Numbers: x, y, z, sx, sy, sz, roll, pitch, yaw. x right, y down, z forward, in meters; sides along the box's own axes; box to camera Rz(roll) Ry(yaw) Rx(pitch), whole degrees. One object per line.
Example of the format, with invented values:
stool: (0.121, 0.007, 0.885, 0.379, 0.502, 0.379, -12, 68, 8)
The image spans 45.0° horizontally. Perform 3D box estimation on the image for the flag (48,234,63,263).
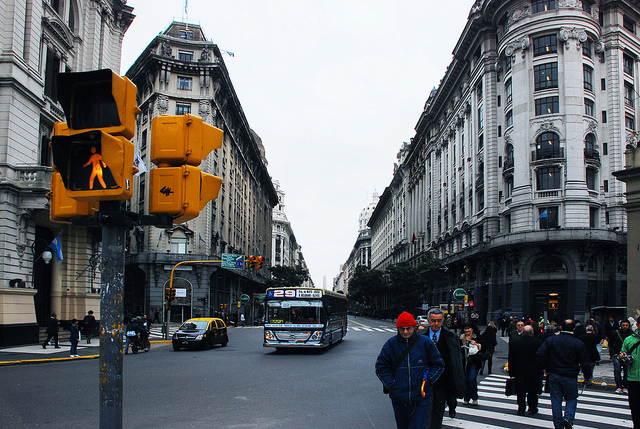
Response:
flag: (-16.949, 2.052, 49.769, 0.694, 1.699, 2.368, 4, -13, -17)

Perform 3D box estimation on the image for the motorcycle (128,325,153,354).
motorcycle: (-11.360, 7.968, 48.900, 1.118, 1.439, 2.196, -9, -9, 20)

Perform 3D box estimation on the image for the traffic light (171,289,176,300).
traffic light: (-11.003, 5.985, 58.202, 0.288, 0.795, 1.314, 2, -13, -9)

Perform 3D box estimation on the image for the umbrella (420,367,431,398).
umbrella: (4.003, 6.506, 29.665, 0.215, 0.751, 0.592, 10, -18, -7)

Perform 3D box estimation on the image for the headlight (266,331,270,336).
headlight: (-3.219, 7.354, 48.079, 0.192, 0.196, 0.058, 4, -12, -17)

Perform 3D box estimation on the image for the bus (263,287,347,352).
bus: (-0.283, 6.726, 49.841, 3.256, 4.161, 6.867, -8, -15, 35)

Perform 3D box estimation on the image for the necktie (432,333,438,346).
necktie: (4.712, 5.084, 31.512, 0.177, 0.517, 0.239, -1, -12, 8)
